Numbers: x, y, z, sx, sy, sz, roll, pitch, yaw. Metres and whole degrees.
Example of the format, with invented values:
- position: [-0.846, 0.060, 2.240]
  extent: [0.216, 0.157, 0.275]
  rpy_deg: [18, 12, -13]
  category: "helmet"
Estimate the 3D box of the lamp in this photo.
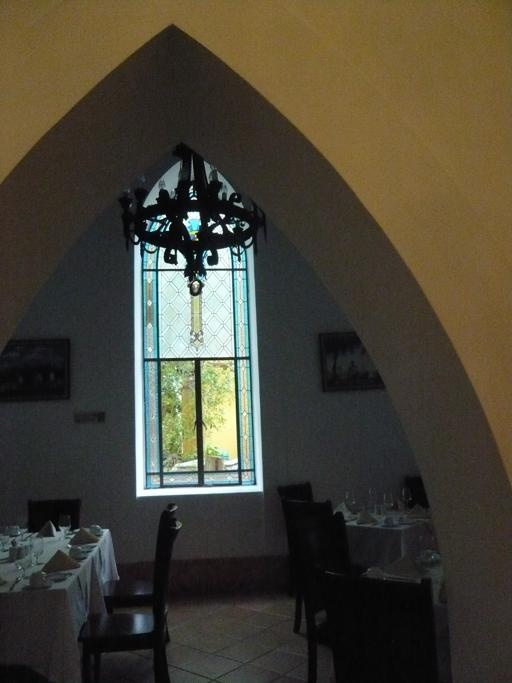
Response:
- position: [-0.336, -0.610, 3.561]
  extent: [0.687, 0.770, 0.565]
  rpy_deg: [-9, -11, 39]
  category: "lamp"

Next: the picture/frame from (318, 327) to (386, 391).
- position: [0.829, 0.189, 6.157]
  extent: [0.031, 0.511, 0.697]
  rpy_deg: [-4, 0, -42]
  category: "picture/frame"

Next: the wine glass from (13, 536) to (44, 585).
- position: [-1.197, 1.154, 3.806]
  extent: [0.184, 0.299, 0.200]
  rpy_deg: [-1, -23, -6]
  category: "wine glass"

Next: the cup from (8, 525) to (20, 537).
- position: [-1.562, 1.226, 4.608]
  extent: [0.062, 0.061, 0.045]
  rpy_deg: [-10, -7, 25]
  category: "cup"

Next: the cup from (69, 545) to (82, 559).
- position: [-0.978, 1.147, 3.900]
  extent: [0.043, 0.057, 0.058]
  rpy_deg: [2, 32, -1]
  category: "cup"
